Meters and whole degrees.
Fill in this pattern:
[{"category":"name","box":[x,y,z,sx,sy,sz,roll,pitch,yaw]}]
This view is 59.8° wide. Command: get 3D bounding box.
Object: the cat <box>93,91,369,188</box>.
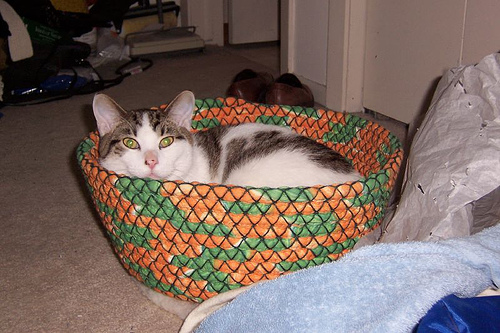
[{"category":"cat","box":[-0.063,-0.092,1.544,0.811,0.367,0.305,-7,15,-6]}]
